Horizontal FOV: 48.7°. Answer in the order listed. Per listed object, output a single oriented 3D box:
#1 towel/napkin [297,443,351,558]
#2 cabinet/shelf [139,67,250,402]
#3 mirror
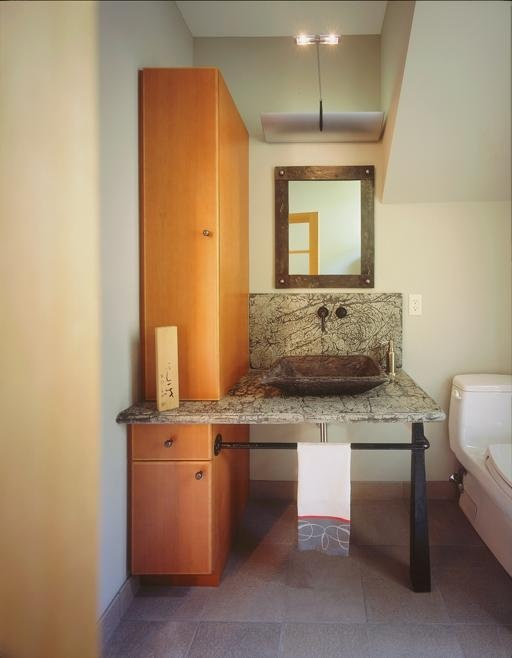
[{"bbox_3d":[0.231,0.576,1.927,0.181,0.358,0.110,0,10,5],"label":"towel/napkin"},{"bbox_3d":[-0.233,-0.360,2.196,0.293,1.206,0.591,1,10,11],"label":"cabinet/shelf"},{"bbox_3d":[0.335,-0.500,2.646,0.513,0.685,0.074,0,6,10],"label":"mirror"}]
